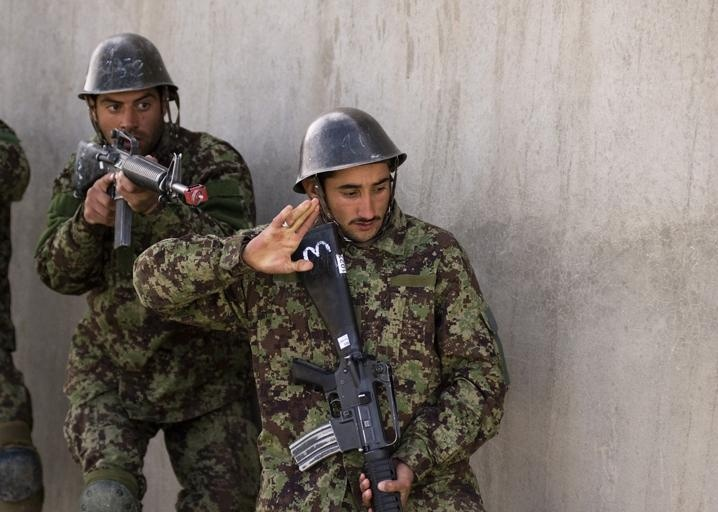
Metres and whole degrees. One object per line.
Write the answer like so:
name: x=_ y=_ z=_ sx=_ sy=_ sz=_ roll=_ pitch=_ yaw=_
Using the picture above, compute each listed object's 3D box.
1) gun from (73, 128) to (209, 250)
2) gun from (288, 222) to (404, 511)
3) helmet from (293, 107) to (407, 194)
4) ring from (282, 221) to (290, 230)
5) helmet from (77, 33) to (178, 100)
gun: x=-1.121 y=-0.297 z=5.077 sx=0.887 sy=0.565 sz=0.131 roll=22 pitch=17 yaw=35
gun: x=-0.071 y=0.420 z=4.579 sx=0.634 sy=1.084 sz=0.229 roll=8 pitch=7 yaw=28
helmet: x=-0.095 y=-0.569 z=5.014 sx=0.484 sy=0.393 sz=0.631 roll=-13 pitch=-2 yaw=-22
ring: x=-0.320 y=-0.136 z=4.474 sx=0.018 sy=0.032 sz=0.009 roll=3 pitch=12 yaw=12
helmet: x=-1.266 y=-1.016 z=5.580 sx=0.461 sy=0.354 sz=0.605 roll=-3 pitch=3 yaw=1
